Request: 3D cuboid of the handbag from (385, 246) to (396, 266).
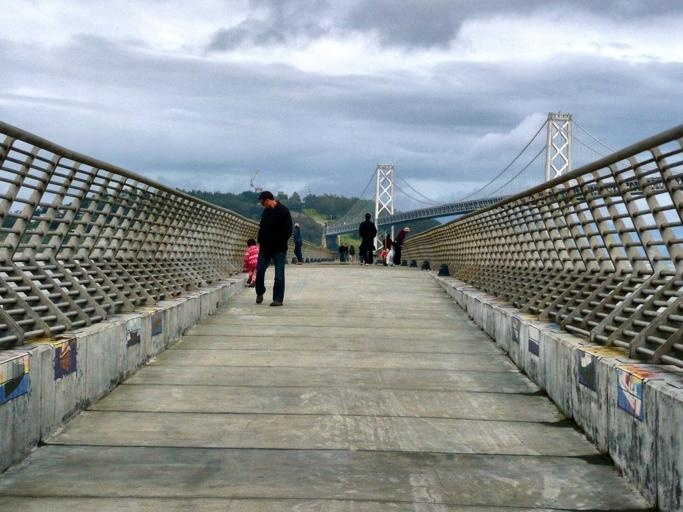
[{"bbox_3d":[2.537,-0.063,24.736,0.540,0.790,1.287,4,35,8],"label":"handbag"}]
